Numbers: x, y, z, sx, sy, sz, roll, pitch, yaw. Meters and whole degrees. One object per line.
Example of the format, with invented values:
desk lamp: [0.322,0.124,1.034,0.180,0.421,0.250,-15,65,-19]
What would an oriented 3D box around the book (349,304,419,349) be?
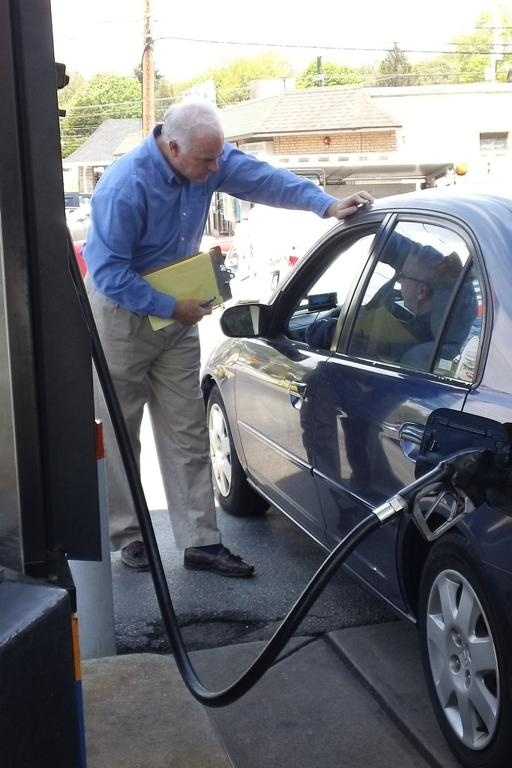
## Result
book: [0.447,-0.196,2.123,0.045,0.159,0.169,9,32,-38]

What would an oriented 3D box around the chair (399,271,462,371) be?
chair: [0.559,-0.230,1.880,0.122,0.293,0.233,6,-2,32]

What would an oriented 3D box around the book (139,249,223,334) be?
book: [-0.299,-0.466,2.743,0.494,0.329,0.110,-24,24,-6]

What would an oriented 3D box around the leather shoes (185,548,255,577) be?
leather shoes: [-0.201,0.919,3.060,0.354,0.138,0.134,3,4,23]
